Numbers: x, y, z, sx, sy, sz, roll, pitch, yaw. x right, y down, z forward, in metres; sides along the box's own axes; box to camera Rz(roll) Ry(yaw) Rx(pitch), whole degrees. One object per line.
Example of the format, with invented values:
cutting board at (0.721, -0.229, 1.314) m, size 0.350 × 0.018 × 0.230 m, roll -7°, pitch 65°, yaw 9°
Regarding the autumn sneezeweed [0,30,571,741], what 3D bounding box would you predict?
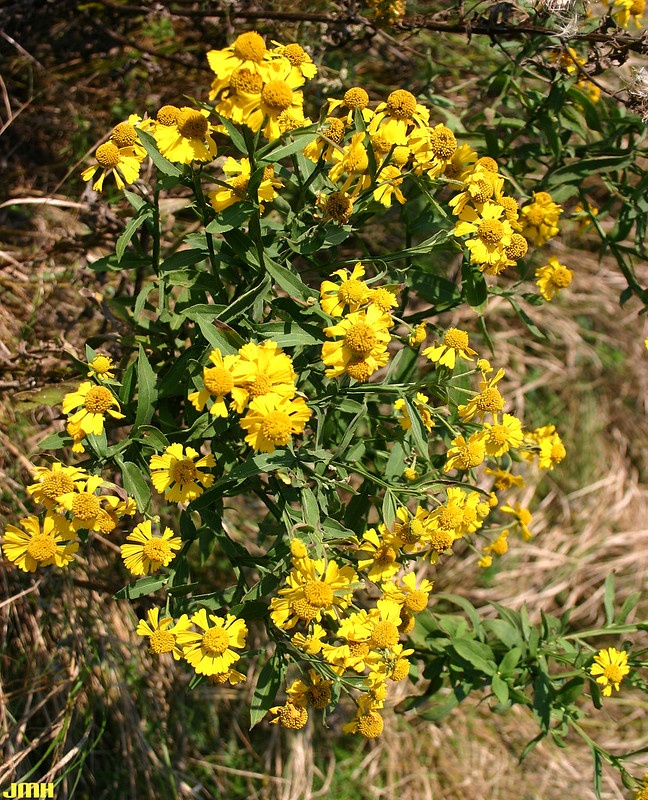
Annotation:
autumn sneezeweed at (-0.091, 0.223, 2.936) m, size 2.126 × 1.216 × 2.560 m, roll 6°, pitch 104°, yaw 5°
